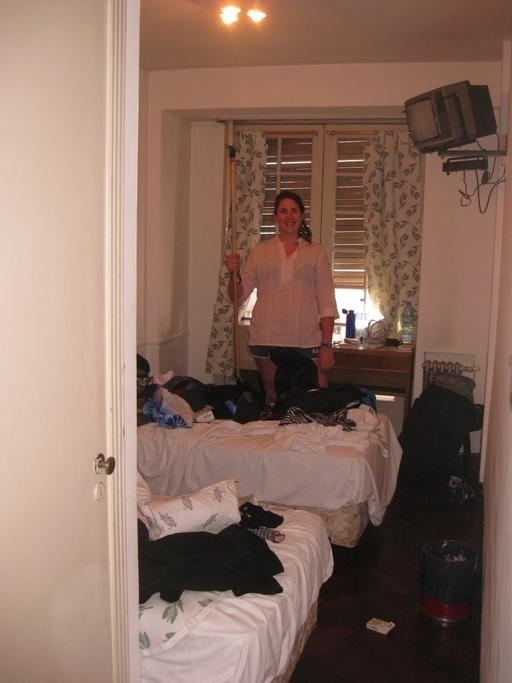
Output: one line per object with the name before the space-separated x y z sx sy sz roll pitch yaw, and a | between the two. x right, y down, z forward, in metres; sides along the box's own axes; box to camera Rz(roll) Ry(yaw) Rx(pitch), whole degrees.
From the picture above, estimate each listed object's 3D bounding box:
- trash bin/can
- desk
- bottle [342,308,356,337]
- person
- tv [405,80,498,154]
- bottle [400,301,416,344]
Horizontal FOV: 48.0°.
trash bin/can | 0.730 0.937 2.225 0.209 0.221 0.208 3 -3 -37
desk | 0.735 0.305 3.821 0.718 0.644 0.274 1 5 13
bottle | 0.739 -0.139 4.633 0.109 0.229 0.181 1 5 11
person | 0.197 -0.260 3.691 0.629 1.350 0.210 0 5 7
tv | 1.040 -1.222 3.180 0.320 0.300 0.445 -20 15 -22
bottle | 1.194 -0.148 4.510 0.132 0.324 0.096 -1 5 -5
